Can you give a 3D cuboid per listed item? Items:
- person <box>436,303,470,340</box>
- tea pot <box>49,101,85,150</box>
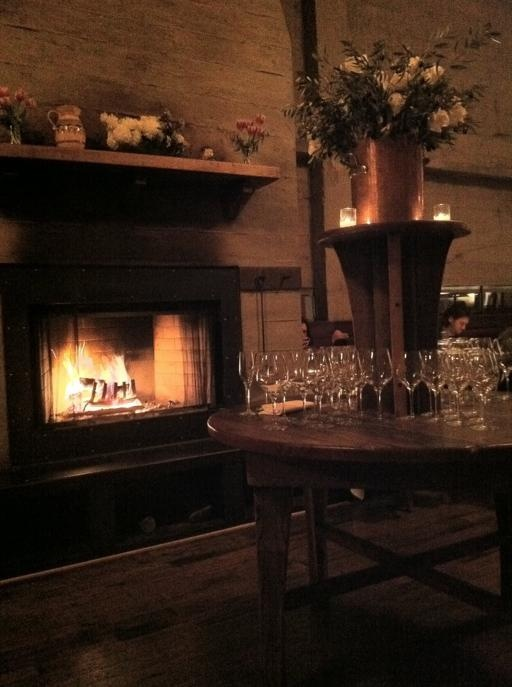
[{"bbox_3d":[1.567,-0.176,4.768,0.181,0.281,1.604,-3,1,18],"label":"person"},{"bbox_3d":[-0.789,-0.907,2.555,0.119,0.183,0.162,-4,1,-13],"label":"tea pot"}]
